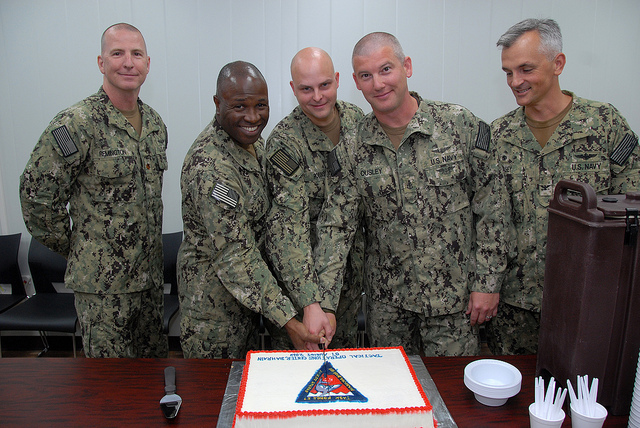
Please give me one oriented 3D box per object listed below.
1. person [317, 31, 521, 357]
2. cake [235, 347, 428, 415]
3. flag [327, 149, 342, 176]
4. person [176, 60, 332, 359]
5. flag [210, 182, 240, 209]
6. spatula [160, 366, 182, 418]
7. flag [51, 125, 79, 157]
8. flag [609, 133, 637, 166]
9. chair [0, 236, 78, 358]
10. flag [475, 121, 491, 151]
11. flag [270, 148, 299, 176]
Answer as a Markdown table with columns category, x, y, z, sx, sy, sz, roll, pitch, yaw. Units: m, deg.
| category | x | y | z | sx | sy | sz | roll | pitch | yaw |
| --- | --- | --- | --- | --- | --- | --- | --- | --- | --- |
| person | 0.492 | -0.064 | 2.757 | 1.017 | 1.776 | 0.342 | -1 | 4 | -4 |
| cake | 0.045 | 0.687 | 2.112 | 0.732 | 0.144 | 0.371 | 0 | 4 | -2 |
| flag | 0.075 | -0.288 | 2.821 | 0.038 | 0.128 | 0.093 | 5 | -23 | -41 |
| person | -0.419 | 0.017 | 2.636 | 0.514 | 1.609 | 0.707 | -2 | 4 | -26 |
| flag | -0.470 | -0.086 | 2.494 | 0.117 | 0.085 | 0.017 | 30 | -26 | -4 |
| spatula | -0.619 | 0.735 | 2.117 | 0.088 | 0.275 | 0.038 | -1 | 23 | -16 |
| flag | -1.442 | -0.412 | 2.873 | 0.106 | 0.193 | 0.019 | -32 | 10 | -22 |
| flag | 1.628 | -0.342 | 2.731 | 0.106 | 0.176 | 0.036 | 41 | 1 | 20 |
| chair | -1.997 | 0.627 | 3.635 | 0.465 | 0.874 | 0.736 | -2 | 4 | -27 |
| flag | 0.874 | -0.421 | 2.720 | 0.064 | 0.164 | 0.108 | 2 | 4 | 28 |
| flag | -0.191 | -0.285 | 2.781 | 0.105 | 0.149 | 0.036 | -44 | -7 | -14 |
